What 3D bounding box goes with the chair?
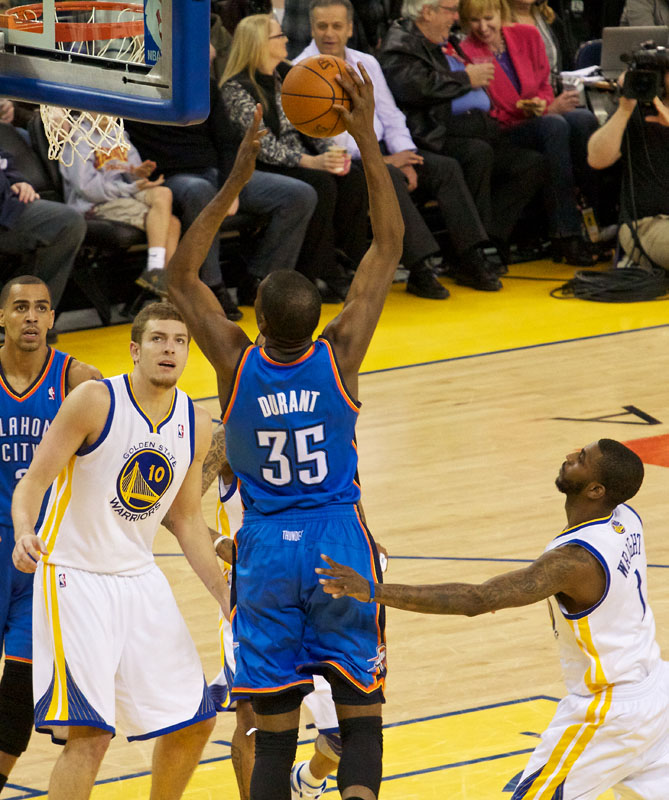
[{"bbox_3d":[-1.396,-1.445,6.879,1.074,1.223,1.050,38,53,20],"label":"chair"}]
